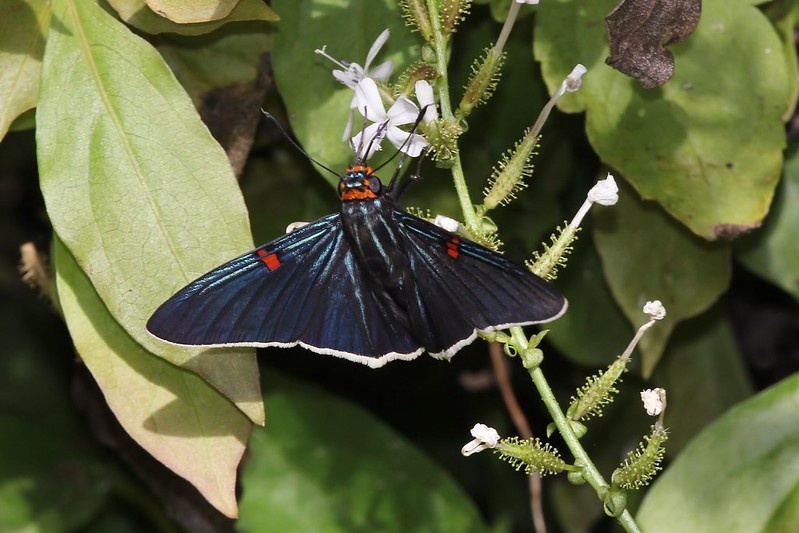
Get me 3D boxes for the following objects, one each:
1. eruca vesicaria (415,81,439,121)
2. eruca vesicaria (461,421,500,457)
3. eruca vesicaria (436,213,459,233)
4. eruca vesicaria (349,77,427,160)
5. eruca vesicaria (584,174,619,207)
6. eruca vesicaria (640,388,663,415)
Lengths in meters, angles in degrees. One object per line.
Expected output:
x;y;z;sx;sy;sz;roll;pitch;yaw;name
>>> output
0.069;-0.404;2.210;0.034;0.067;0.090;19;55;-77;eruca vesicaria
0.194;0.415;2.154;0.098;0.035;0.100;5;8;-29;eruca vesicaria
0.112;-0.107;2.261;0.038;0.012;0.049;-1;36;-25;eruca vesicaria
-0.050;-0.351;2.239;0.136;0.162;0.232;-22;54;-32;eruca vesicaria
0.507;-0.193;2.271;0.080;0.082;0.026;37;20;-10;eruca vesicaria
0.620;0.318;2.209;0.032;0.062;0.067;-12;85;-53;eruca vesicaria
